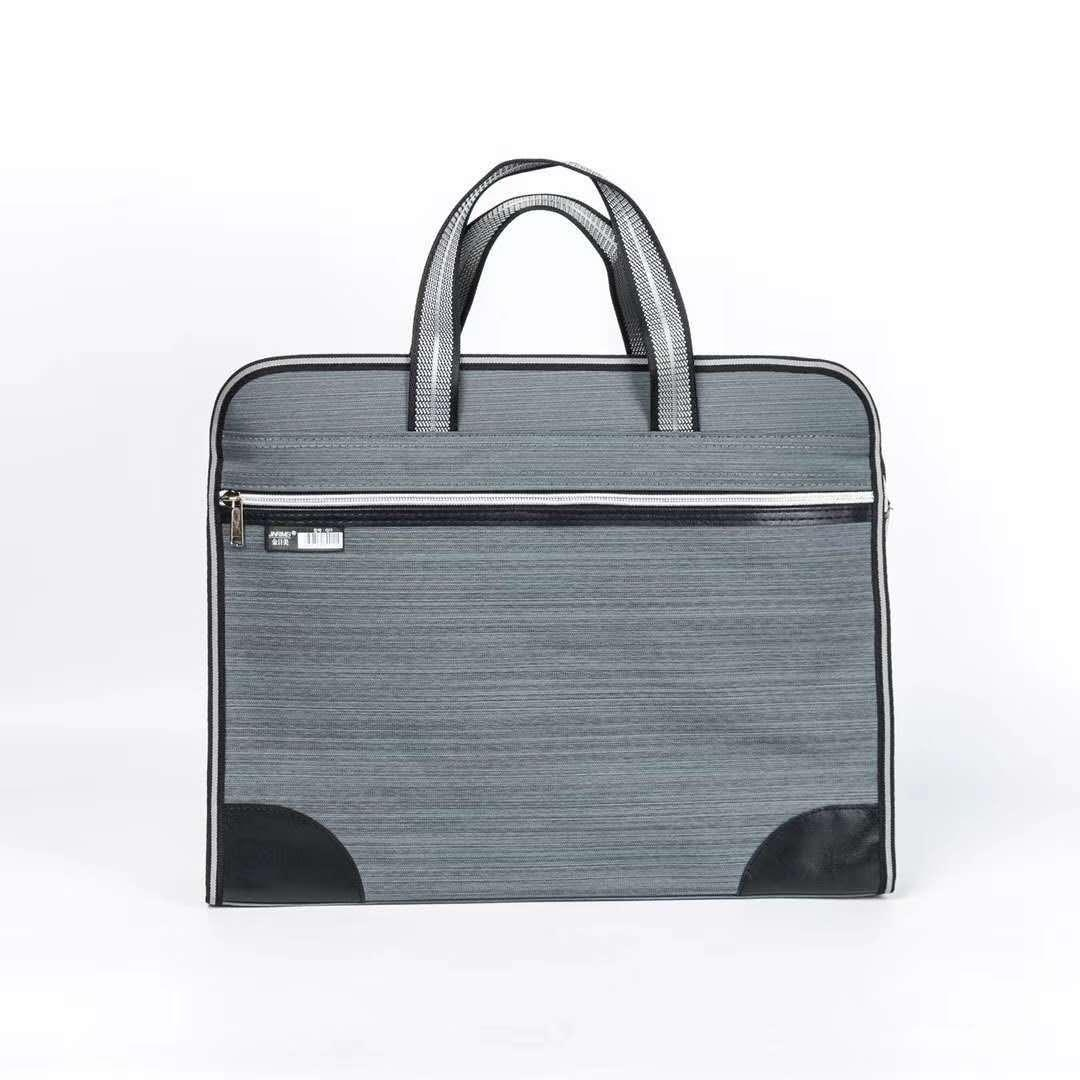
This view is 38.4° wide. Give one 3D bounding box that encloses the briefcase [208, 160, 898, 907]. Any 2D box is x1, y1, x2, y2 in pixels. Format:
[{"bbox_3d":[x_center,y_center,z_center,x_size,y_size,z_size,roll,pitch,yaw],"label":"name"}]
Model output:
[{"bbox_3d":[0.004,0.093,1.585,0.941,0.831,0.351,-1,1,-4],"label":"briefcase"}]
